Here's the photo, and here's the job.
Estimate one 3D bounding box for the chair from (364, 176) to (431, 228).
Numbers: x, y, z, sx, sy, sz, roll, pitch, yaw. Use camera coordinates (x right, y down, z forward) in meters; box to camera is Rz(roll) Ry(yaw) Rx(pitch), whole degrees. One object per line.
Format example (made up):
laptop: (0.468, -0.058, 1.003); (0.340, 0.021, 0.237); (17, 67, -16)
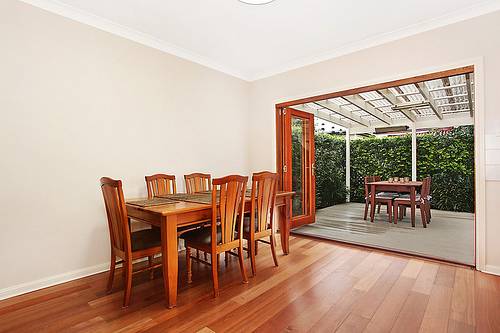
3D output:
chair: (3.150, 0.662, 6.636); (1.017, 0.870, 1.283); (-2, -2, 34)

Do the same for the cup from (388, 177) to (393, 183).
cup: (3.032, 0.291, 6.718); (0.114, 0.092, 0.116); (1, 1, 0)

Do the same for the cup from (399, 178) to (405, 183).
cup: (3.241, 0.299, 6.617); (0.119, 0.095, 0.132); (1, 0, -45)

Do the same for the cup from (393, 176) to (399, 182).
cup: (3.162, 0.283, 6.741); (0.149, 0.112, 0.149); (0, 2, 0)
